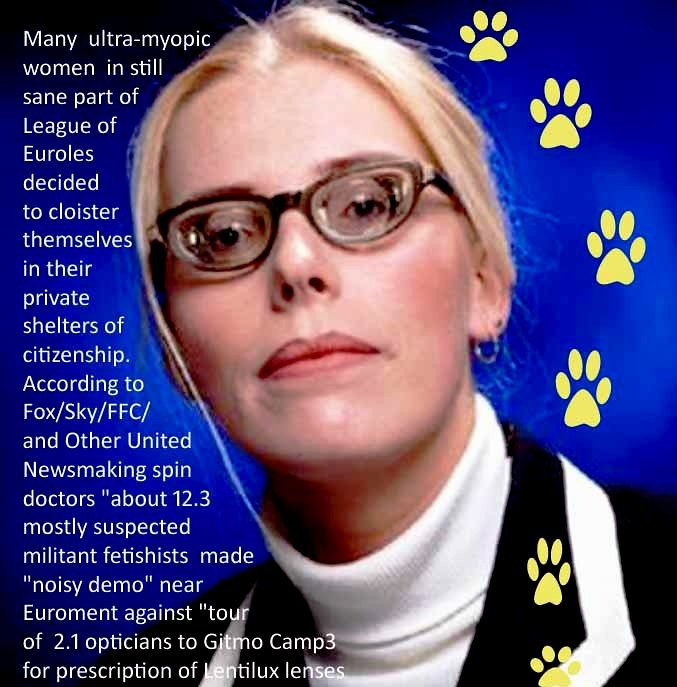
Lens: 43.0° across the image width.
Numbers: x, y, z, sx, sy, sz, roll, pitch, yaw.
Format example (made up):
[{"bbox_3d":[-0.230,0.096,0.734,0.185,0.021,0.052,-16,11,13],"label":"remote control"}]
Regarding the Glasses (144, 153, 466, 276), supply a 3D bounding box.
[{"bbox_3d":[-0.150,-0.190,1.404,0.260,0.135,0.264,-3,10,41],"label":"Glasses"}]
